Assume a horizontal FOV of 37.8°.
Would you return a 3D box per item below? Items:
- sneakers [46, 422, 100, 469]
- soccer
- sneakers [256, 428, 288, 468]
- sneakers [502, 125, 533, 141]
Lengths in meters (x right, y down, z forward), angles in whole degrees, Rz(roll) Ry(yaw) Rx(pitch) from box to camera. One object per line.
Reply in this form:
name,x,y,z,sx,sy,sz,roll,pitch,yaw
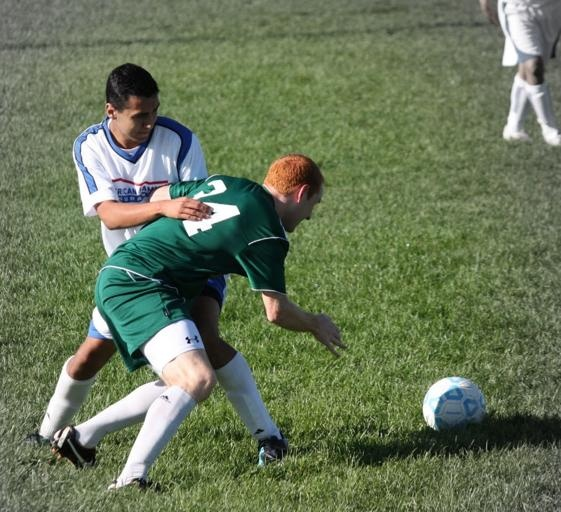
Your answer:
sneakers,-1.312,1.261,5.297,0.188,0.405,0.148,-44,18,18
soccer,1.226,1.058,5.891,0.401,0.432,0.390,-4,13,-21
sneakers,-0.004,1.343,5.693,0.187,0.221,0.532,-13,-16,-1
sneakers,2.868,-1.457,10.110,0.364,0.252,0.134,6,29,7
